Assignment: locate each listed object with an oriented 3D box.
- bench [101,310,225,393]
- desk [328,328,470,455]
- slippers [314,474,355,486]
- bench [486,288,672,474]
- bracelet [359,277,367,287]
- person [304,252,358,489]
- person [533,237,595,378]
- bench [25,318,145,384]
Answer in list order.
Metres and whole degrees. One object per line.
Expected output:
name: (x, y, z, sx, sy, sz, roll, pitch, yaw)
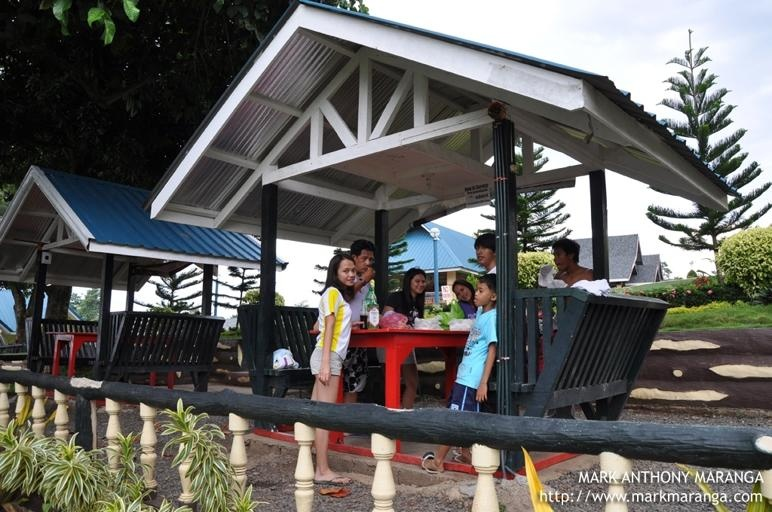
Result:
bench: (-3.580, 1.534, 10.172, 1.657, 1.050, 1.217, -8, -14, 42)
desk: (0.131, 1.521, 7.765, 1.227, 1.335, 1.457, 7, -17, -26)
slippers: (-0.574, 2.470, 6.991, 0.303, 0.089, 0.158, -2, -6, -1)
bench: (2.046, 1.239, 7.702, 1.952, 1.971, 2.372, 7, 0, 39)
bracelet: (-0.280, 0.333, 7.998, 0.093, 0.117, 0.146, 0, -8, 18)
person: (-0.584, 1.239, 7.149, 0.501, 2.519, 0.555, 4, -7, -7)
person: (2.336, 0.633, 8.218, 0.658, 1.663, 0.546, -4, -3, 28)
bench: (-5.646, 1.921, 12.279, 0.807, 1.383, 2.148, 0, -9, 27)
